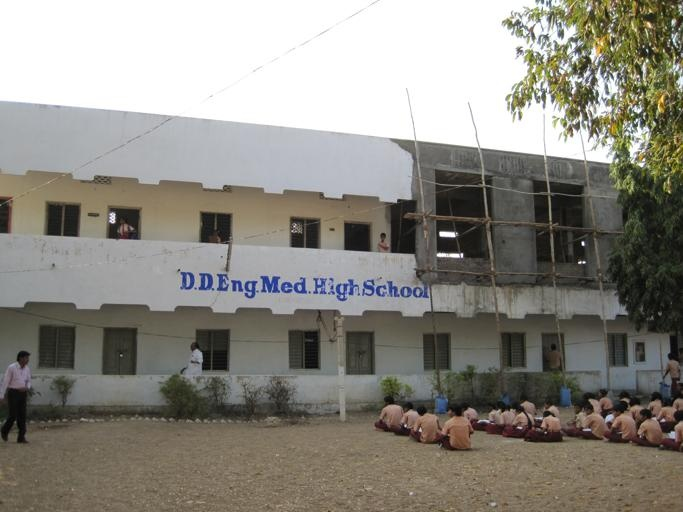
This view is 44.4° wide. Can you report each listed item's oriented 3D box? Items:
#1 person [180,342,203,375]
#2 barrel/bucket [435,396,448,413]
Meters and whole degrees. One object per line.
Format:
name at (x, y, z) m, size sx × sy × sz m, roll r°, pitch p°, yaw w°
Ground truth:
person at (-4.321, 3.078, 24.316) m, size 0.624 × 1.154 × 2.233 m, roll 2°, pitch -14°, yaw -11°
barrel/bucket at (2.981, 4.544, 25.088) m, size 0.383 × 0.526 × 0.375 m, roll -1°, pitch -6°, yaw 0°
